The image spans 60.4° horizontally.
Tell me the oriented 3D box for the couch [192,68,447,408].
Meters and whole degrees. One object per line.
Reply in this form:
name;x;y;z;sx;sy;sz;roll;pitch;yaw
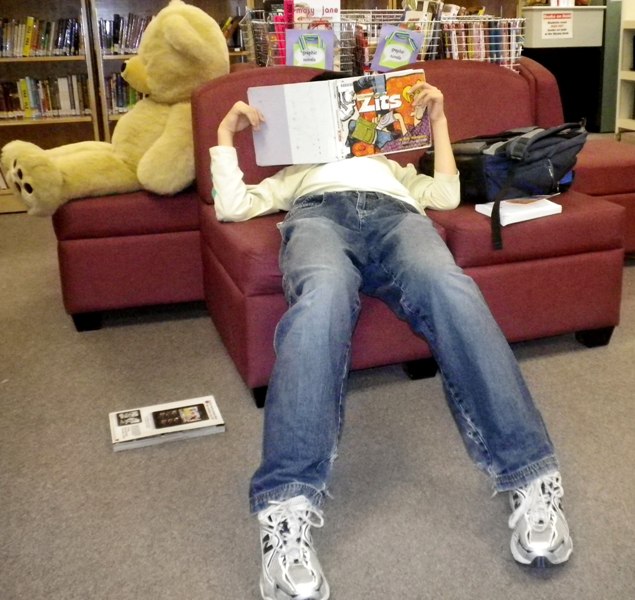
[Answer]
couch;-0.003;-0.255;1.825;0.741;0.835;0.809;-6;24;-13

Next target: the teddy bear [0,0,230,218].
teddy bear;-0.725;-0.869;2.277;0.950;1.005;0.642;-9;29;-22

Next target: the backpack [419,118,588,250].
backpack;0.613;-0.427;1.746;0.417;0.189;0.433;-18;25;-20

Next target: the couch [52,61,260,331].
couch;-0.627;-0.531;2.432;0.855;1.020;0.887;-7;22;-15

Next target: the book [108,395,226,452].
book;-0.402;0.328;1.457;0.246;0.055;0.140;-11;31;-18

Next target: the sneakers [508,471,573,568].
sneakers;0.394;0.406;1.000;0.076;0.101;0.203;-7;16;15

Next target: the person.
person;0.159;-0.058;1.286;0.747;0.831;1.069;-7;23;-10
